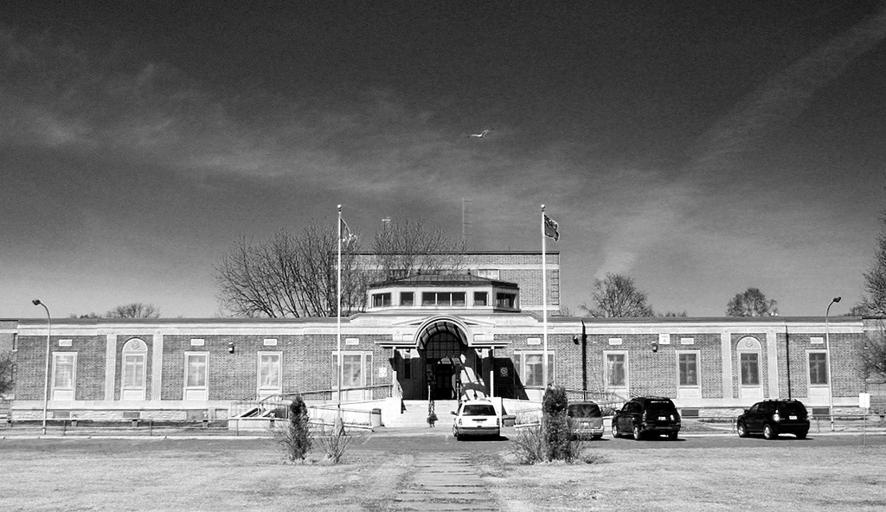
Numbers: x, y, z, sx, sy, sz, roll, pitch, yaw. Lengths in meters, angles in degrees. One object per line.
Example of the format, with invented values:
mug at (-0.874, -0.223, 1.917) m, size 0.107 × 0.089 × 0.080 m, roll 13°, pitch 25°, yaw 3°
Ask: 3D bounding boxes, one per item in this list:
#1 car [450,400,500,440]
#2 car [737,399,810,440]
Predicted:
car at (2.307, 11.143, 67.650) m, size 2.180 × 1.509 × 3.273 m, roll 0°, pitch 0°, yaw -3°
car at (23.013, 11.310, 69.273) m, size 1.979 × 2.666 × 4.363 m, roll 7°, pitch -13°, yaw -39°
